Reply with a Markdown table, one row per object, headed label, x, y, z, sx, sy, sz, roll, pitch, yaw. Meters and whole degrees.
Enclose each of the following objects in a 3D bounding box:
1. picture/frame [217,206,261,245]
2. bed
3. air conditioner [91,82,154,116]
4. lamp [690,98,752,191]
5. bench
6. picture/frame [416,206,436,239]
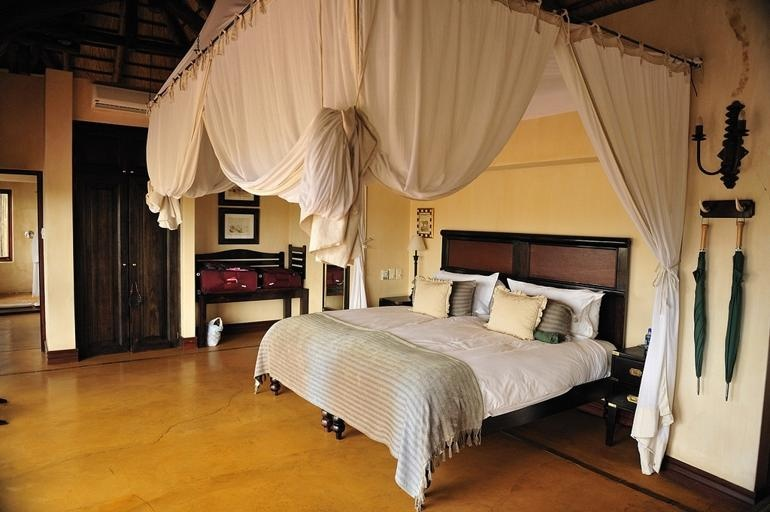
| label | x | y | z | sx | sy | sz | roll | pitch | yaw |
| --- | --- | --- | --- | --- | --- | --- | --- | --- | --- |
| picture/frame | -2.265 | -0.479 | 7.838 | 0.601 | 0.613 | 0.048 | 0 | 1 | -33 |
| bed | 0.454 | 0.688 | 5.408 | 2.898 | 1.925 | 3.091 | -9 | 17 | -39 |
| air conditioner | -3.349 | -1.994 | 6.521 | 0.654 | 0.328 | 0.277 | -5 | 15 | -28 |
| lamp | 2.803 | -0.933 | 4.298 | 0.423 | 0.732 | 0.244 | 9 | 16 | 29 |
| bench | -2.036 | 0.569 | 7.677 | 1.701 | 1.346 | 0.648 | -2 | 7 | -39 |
| picture/frame | 0.568 | -0.454 | 7.044 | 0.035 | 0.497 | 0.399 | -4 | 9 | -36 |
